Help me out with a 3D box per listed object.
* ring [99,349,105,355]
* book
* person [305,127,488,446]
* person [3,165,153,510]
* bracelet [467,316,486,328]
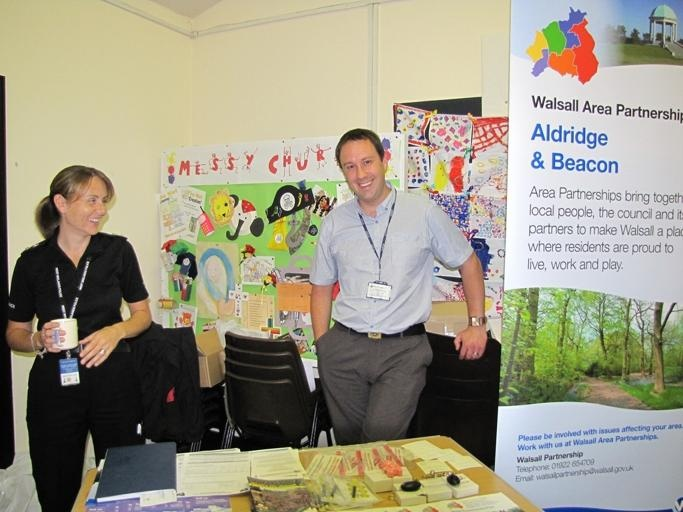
[{"bbox_3d":[-1.124,0.445,2.433,0.024,0.026,0.006,2,-3,-35],"label":"ring"},{"bbox_3d":[-0.819,0.805,1.965,0.039,0.224,0.228,-11,-29,23],"label":"book"},{"bbox_3d":[0.294,0.181,2.694,0.929,1.617,0.649,0,14,-1],"label":"person"},{"bbox_3d":[-1.278,0.370,2.529,0.656,1.565,0.493,-6,15,-23],"label":"person"},{"bbox_3d":[0.713,0.341,2.695,0.067,0.055,0.067,0,-9,0],"label":"bracelet"}]
